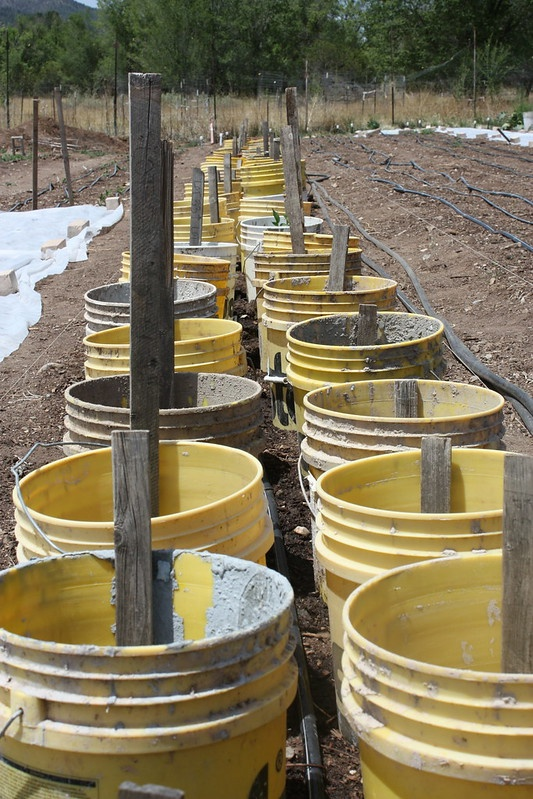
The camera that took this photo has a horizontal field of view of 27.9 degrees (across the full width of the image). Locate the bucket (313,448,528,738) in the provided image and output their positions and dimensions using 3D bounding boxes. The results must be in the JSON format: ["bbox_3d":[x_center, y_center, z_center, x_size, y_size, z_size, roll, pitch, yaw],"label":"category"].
[{"bbox_3d":[0.520,0.542,3.637,0.756,0.645,0.693,-8,2,0],"label":"bucket"}]

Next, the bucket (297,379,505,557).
[{"bbox_3d":[0.548,0.262,4.444,0.690,0.583,0.642,-1,6,0],"label":"bucket"}]

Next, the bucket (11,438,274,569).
[{"bbox_3d":[-0.420,0.360,3.708,0.676,0.445,0.597,-6,20,-16],"label":"bucket"}]

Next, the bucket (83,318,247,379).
[{"bbox_3d":[-0.484,-0.238,5.487,0.810,0.286,0.914,-6,8,-20],"label":"bucket"}]

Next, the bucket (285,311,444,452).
[{"bbox_3d":[0.417,-0.189,5.450,0.740,0.532,0.771,-2,18,0],"label":"bucket"}]
